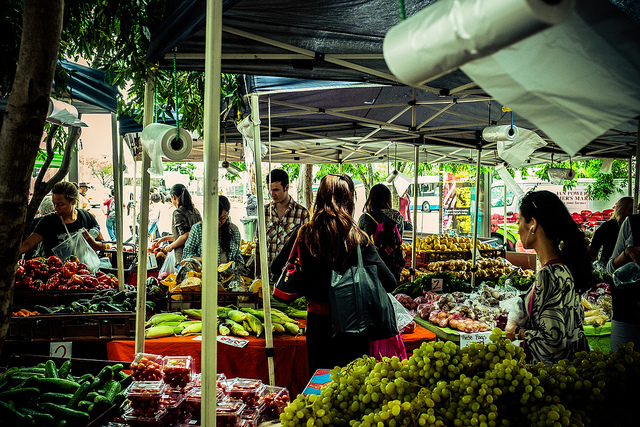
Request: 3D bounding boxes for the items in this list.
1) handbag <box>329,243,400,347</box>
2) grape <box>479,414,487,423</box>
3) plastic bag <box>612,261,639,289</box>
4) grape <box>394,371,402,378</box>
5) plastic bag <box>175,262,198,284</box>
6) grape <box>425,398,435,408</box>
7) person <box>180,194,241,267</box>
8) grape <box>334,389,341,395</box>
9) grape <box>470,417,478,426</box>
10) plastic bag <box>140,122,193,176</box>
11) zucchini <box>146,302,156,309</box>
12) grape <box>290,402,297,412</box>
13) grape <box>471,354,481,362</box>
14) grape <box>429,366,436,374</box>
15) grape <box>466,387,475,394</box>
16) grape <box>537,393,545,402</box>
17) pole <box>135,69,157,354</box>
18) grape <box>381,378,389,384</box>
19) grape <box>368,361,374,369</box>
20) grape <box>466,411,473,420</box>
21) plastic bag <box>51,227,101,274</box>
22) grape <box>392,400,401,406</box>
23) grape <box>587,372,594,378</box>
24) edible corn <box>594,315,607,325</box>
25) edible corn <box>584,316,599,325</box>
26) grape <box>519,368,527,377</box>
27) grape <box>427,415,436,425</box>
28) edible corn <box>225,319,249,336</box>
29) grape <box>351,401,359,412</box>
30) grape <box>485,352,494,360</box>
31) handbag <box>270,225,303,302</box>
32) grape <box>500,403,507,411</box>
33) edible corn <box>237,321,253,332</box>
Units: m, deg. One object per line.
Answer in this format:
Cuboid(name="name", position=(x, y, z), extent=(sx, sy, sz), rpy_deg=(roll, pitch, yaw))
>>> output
Cuboid(name="handbag", position=(0.347, 0.621, 4.344), extent=(0.539, 0.763, 0.247), rpy_deg=(0, -4, -1))
Cuboid(name="grape", position=(0.904, 1.137, 3.007), extent=(0.044, 0.040, 0.014), rpy_deg=(0, -4, -1))
Cuboid(name="plastic bag", position=(3.118, 0.622, 5.524), extent=(0.098, 0.211, 0.242), rpy_deg=(35, -40, -17))
Cuboid(name="grape", position=(0.459, 0.943, 3.176), extent=(0.028, 0.033, 0.028), rpy_deg=(7, -4, -12))
Cuboid(name="plastic bag", position=(-1.505, 0.651, 6.087), extent=(0.095, 0.258, 0.185), rpy_deg=(22, 3, -14))
Cuboid(name="grape", position=(0.615, 1.065, 3.047), extent=(0.036, 0.051, 0.030), rpy_deg=(-33, -31, -23))
Cuboid(name="person", position=(-1.337, 0.343, 6.841), extent=(0.771, 1.085, 0.711), rpy_deg=(6, 3, -30))
Cuboid(name="grape", position=(0.103, 1.055, 3.200), extent=(0.024, 0.022, 0.007), rpy_deg=(0, -18, -4))
Cuboid(name="grape", position=(0.852, 1.153, 3.000), extent=(0.037, 0.043, 0.037), rpy_deg=(-20, -5, -5))
Cuboid(name="plastic bag", position=(-1.292, -0.580, 4.501), extent=(0.305, 0.272, 0.599), rpy_deg=(-9, 13, -30))
Cuboid(name="zucchini", position=(-1.668, 0.912, 5.366), extent=(0.088, 0.027, 0.099), rpy_deg=(6, 6, 22))
Cuboid(name="grape", position=(-0.160, 1.116, 3.128), extent=(0.035, 0.049, 0.059), rpy_deg=(2, -4, -25))
Cuboid(name="grape", position=(0.918, 0.856, 3.203), extent=(0.050, 0.043, 0.022), rpy_deg=(-1, -4, 17))
Cuboid(name="grape", position=(0.656, 0.916, 3.165), extent=(0.037, 0.041, 0.017), rpy_deg=(1, -4, -13))
Cuboid(name="grape", position=(0.855, 1.007, 3.082), extent=(0.048, 0.037, 0.018), rpy_deg=(2, -5, -25))
Cuboid(name="grape", position=(1.258, 1.048, 3.086), extent=(0.011, 0.034, 0.034), rpy_deg=(8, -30, -14))
Cuboid(name="pole", position=(-1.369, -0.017, 4.267), extent=(0.119, 2.254, 0.378), rpy_deg=(1, -5, -18))
Cuboid(name="grape", position=(0.379, 0.973, 3.148), extent=(0.040, 0.028, 0.032), rpy_deg=(-1, -4, 6))
Cuboid(name="grape", position=(0.314, 0.940, 3.353), extent=(0.035, 0.035, 0.066), rpy_deg=(-1, -4, 5))
Cuboid(name="grape", position=(0.833, 1.127, 3.025), extent=(0.018, 0.032, 0.033), rpy_deg=(7, 33, 22))
Cuboid(name="plastic bag", position=(-2.867, 0.454, 6.383), extent=(0.513, 0.514, 0.386), rpy_deg=(2, -5, -25))
Cuboid(name="grape", position=(0.428, 1.059, 3.029), extent=(0.047, 0.025, 0.030), rpy_deg=(1, -4, -11))
Cuboid(name="grape", position=(1.600, 0.956, 3.204), extent=(0.030, 0.027, 0.023), rpy_deg=(-3, -5, 32))
Cuboid(name="edible corn", position=(3.081, 1.175, 5.954), extent=(0.115, 0.101, 0.092), rpy_deg=(4, -4, 37))
Cuboid(name="edible corn", position=(2.962, 1.173, 5.954), extent=(0.155, 0.059, 0.129), rpy_deg=(-6, -2, -11))
Cuboid(name="grape", position=(1.158, 0.908, 3.101), extent=(0.035, 0.041, 0.035), rpy_deg=(19, 33, 21))
Cuboid(name="grape", position=(0.617, 1.145, 3.012), extent=(0.041, 0.051, 0.040), rpy_deg=(20, -17, 14))
Cuboid(name="edible corn", position=(-0.815, 1.093, 5.288), extent=(0.088, 0.078, 0.292), rpy_deg=(5, 12, -26))
Cuboid(name="grape", position=(0.204, 1.114, 3.133), extent=(0.037, 0.048, 0.036), rpy_deg=(6, -25, 11))
Cuboid(name="grape", position=(0.993, 0.836, 3.180), extent=(0.043, 0.033, 0.033), rpy_deg=(-25, -47, 24))
Cuboid(name="handbag", position=(-0.270, 0.452, 4.625), extent=(0.297, 0.507, 0.156), rpy_deg=(20, 5, -20))
Cuboid(name="grape", position=(1.042, 1.107, 3.088), extent=(0.036, 0.036, 0.020), rpy_deg=(-17, 28, 40))
Cuboid(name="edible corn", position=(-0.714, 1.106, 5.340), extent=(0.064, 0.112, 0.037), rpy_deg=(0, -47, -41))
